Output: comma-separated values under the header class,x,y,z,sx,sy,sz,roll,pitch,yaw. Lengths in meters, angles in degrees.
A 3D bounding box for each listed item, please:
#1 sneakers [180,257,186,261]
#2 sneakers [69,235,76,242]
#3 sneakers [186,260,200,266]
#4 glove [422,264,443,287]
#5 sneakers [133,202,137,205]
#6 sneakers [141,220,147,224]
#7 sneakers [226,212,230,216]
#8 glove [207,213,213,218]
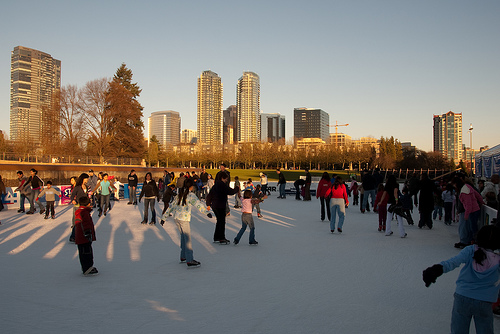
class,x,y,z,sx,sy,sz,roll,pitch,yaw
sneakers,-1.936,2.704,11.967,0.125,0.086,0.075,-1,5,23
sneakers,-5.897,2.411,13.700,0.242,0.196,0.356,8,-5,-18
sneakers,-1.579,2.721,11.538,0.363,0.161,0.140,-1,3,-17
glove,3.412,2.063,7.682,0.323,0.503,0.308,4,8,27
sneakers,-7.135,2.316,25.626,0.205,0.223,0.114,2,8,4
sneakers,-4.523,2.381,17.503,0.363,0.211,0.122,1,3,-15
sneakers,-1.029,2.297,19.855,0.114,0.150,0.369,2,4,4
glove,-1.210,1.492,12.439,0.197,0.085,0.295,-1,-8,-2
